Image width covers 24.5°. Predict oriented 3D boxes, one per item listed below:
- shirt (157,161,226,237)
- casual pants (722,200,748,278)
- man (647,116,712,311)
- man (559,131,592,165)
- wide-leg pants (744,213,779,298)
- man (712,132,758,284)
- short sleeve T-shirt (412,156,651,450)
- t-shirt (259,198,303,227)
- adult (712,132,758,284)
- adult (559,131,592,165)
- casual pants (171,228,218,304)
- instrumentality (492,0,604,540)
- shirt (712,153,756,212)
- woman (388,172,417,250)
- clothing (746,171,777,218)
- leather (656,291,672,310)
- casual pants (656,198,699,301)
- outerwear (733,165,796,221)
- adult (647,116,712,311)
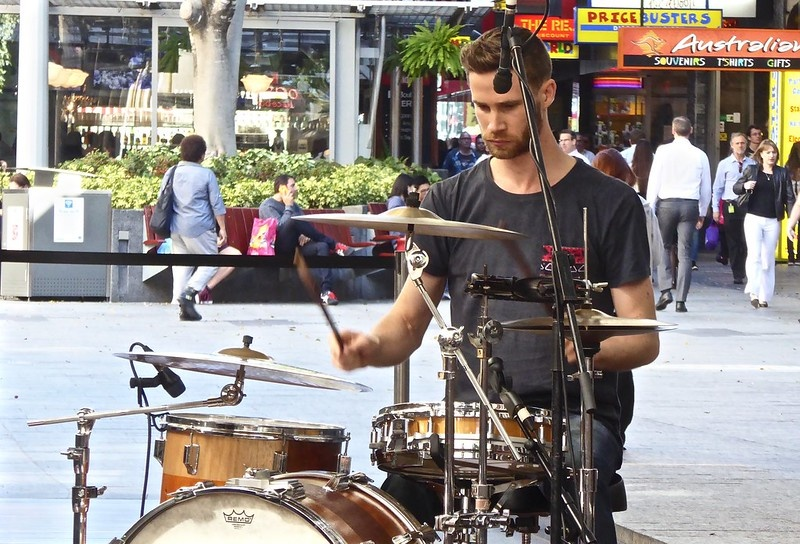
[{"bbox_3d":[-2.428,-0.817,21.425,0.860,0.840,0.487,-4,2,15],"label":"shirt"},{"bbox_3d":[4.782,-0.424,26.323,0.294,1.235,0.394,2,12,20],"label":"casual pants"},{"bbox_3d":[3.486,-0.720,23.573,0.909,2.485,0.656,3,-3,1],"label":"man"},{"bbox_3d":[2.248,-1.578,24.562,0.326,0.521,0.652,3,-7,-24],"label":"man"},{"bbox_3d":[4.598,-0.156,23.697,0.427,1.129,0.553,2,5,9],"label":"wide-leg pants"},{"bbox_3d":[4.710,-0.849,25.997,0.762,2.223,0.667,2,8,43],"label":"man"},{"bbox_3d":[1.111,0.261,15.287,1.930,2.315,1.288,3,14,29],"label":"short sleeve T-shirt"},{"bbox_3d":[-1.406,-0.670,21.416,0.417,0.191,0.425,-11,14,16],"label":"t-shirt"},{"bbox_3d":[4.730,-0.867,26.036,0.754,2.146,0.684,0,-5,-14],"label":"adult"},{"bbox_3d":[2.259,-1.593,24.572,0.294,0.510,0.621,0,-2,-30],"label":"adult"},{"bbox_3d":[-2.170,-0.190,19.556,0.399,0.796,0.359,0,27,4],"label":"casual pants"},{"bbox_3d":[1.203,0.012,14.163,0.497,4.130,1.069,-2,6,-33],"label":"instrumentality"},{"bbox_3d":[4.602,-1.258,25.971,0.359,0.737,0.903,14,20,34],"label":"shirt"},{"bbox_3d":[-0.077,-0.811,23.509,0.365,0.989,0.328,11,33,0],"label":"woman"},{"bbox_3d":[4.629,-0.957,23.817,0.482,0.615,0.354,6,-16,-8],"label":"clothing"},{"bbox_3d":[3.286,0.380,23.258,0.152,0.170,0.399,5,-12,-4],"label":"leather"},{"bbox_3d":[3.479,-0.260,23.516,0.513,1.358,0.426,6,7,22],"label":"casual pants"},{"bbox_3d":[4.738,-1.020,24.070,0.706,0.710,0.398,4,-17,7],"label":"outerwear"},{"bbox_3d":[3.496,-0.741,23.575,0.899,2.489,0.642,2,-2,5],"label":"adult"}]
